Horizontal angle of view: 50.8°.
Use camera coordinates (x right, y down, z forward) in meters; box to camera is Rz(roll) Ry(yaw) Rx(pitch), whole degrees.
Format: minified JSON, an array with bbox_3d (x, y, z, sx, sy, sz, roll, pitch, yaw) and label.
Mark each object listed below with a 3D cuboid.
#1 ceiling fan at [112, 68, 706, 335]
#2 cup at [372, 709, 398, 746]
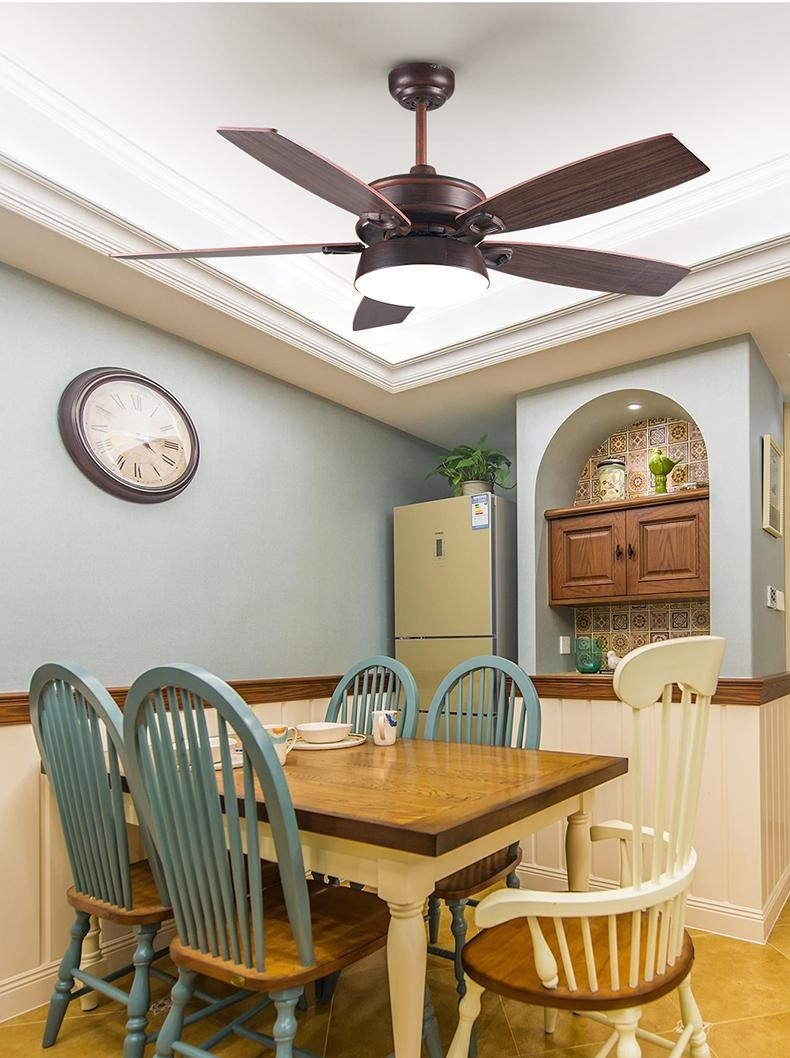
[{"bbox_3d":[0.147,-0.694,1.839,1.085,0.243,0.687,0,0,0],"label":"ceiling fan"},{"bbox_3d":[-0.025,0.587,2.441,0.067,0.089,0.097,-1,-16,1],"label":"cup"}]
